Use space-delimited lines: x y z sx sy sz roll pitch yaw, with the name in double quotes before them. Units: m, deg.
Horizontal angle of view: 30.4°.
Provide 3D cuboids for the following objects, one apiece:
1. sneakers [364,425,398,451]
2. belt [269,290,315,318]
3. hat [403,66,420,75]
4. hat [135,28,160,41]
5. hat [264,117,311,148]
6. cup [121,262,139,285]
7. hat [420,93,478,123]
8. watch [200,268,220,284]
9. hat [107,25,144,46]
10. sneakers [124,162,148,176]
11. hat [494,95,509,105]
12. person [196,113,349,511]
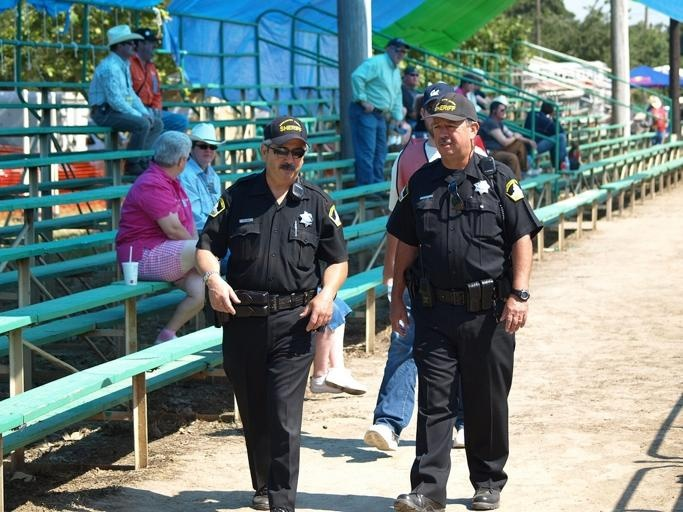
"sneakers" 0.310 1.391 9.651 0.152 0.131 0.278 -17 -42 26
"belt" -0.333 0.312 8.824 0.350 0.135 0.042 -4 9 -26
"hat" 0.948 -2.563 17.376 0.185 0.111 0.171 5 7 9
"hat" -2.317 -2.664 15.042 0.296 0.119 0.188 1 13 -7
"hat" -0.395 -0.882 8.808 0.297 0.199 0.231 -1 8 -4
"cup" -1.781 0.148 10.653 0.189 0.182 0.181 2 5 0
"hat" 0.749 -1.044 8.880 0.316 0.139 0.222 12 3 -6
"watch" -0.923 0.139 8.836 0.100 0.036 0.093 -17 -27 -21
"hat" -2.417 -2.508 14.230 0.391 0.139 0.310 -16 8 -33
"sneakers" -2.388 -1.035 14.709 0.244 0.176 0.226 1 3 7
"hat" 2.322 -2.298 18.543 0.252 0.136 0.326 5 10 6
"person" -0.492 0.599 8.995 0.827 2.433 0.758 6 10 37
